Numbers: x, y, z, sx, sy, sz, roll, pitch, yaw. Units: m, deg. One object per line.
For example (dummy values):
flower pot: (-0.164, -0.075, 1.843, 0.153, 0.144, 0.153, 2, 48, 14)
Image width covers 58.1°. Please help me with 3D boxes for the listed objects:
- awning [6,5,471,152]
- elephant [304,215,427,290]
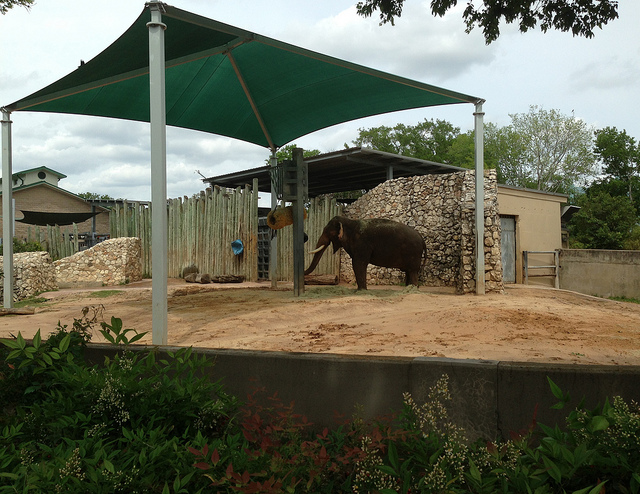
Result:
awning: (-1.483, -2.797, 9.942, 4.417, 1.141, 4.367, -1, -7, -43)
elephant: (1.074, 0.088, 11.961, 2.149, 1.451, 0.933, 0, 3, 8)
